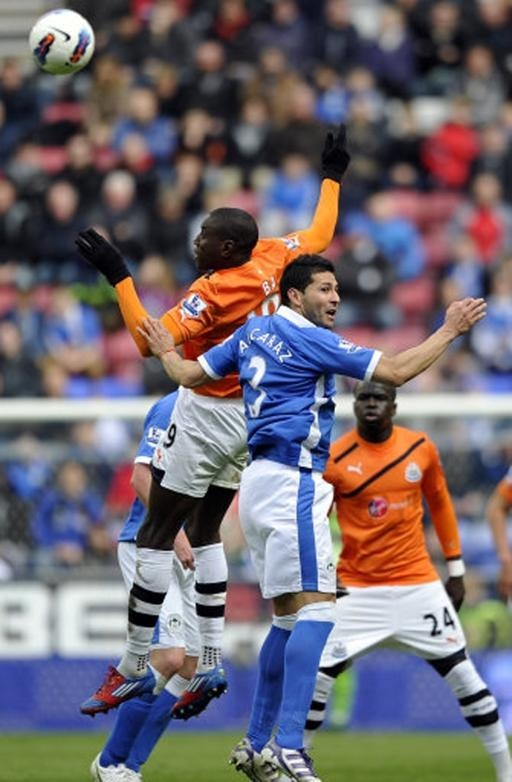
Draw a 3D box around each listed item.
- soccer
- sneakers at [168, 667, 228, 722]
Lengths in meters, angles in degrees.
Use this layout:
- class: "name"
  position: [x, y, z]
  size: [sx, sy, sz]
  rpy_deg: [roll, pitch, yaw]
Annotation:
- class: "soccer"
  position: [-0.967, -1.719, 6.000]
  size: [0.379, 0.336, 0.323]
  rpy_deg: [5, 72, -5]
- class: "sneakers"
  position: [-0.269, 1.391, 5.476]
  size: [0.248, 0.230, 0.147]
  rpy_deg: [-4, 30, -8]
